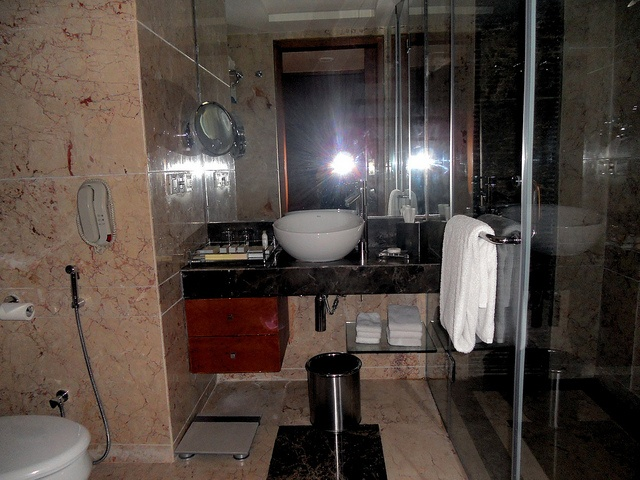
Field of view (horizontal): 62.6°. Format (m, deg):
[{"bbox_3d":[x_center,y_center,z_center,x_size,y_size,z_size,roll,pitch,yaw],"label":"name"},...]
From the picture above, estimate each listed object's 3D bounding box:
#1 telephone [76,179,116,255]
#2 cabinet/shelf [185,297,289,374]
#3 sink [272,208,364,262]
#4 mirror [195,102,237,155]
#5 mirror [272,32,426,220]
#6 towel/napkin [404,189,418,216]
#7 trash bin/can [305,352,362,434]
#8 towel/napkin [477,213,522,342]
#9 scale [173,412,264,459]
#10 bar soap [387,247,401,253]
[{"bbox_3d":[-1.098,-0.115,2.600,0.173,0.332,0.076,1,17,7],"label":"telephone"},{"bbox_3d":[-0.467,0.531,2.953,0.435,0.412,0.462,0,0,1],"label":"cabinet/shelf"},{"bbox_3d":[-0.008,-0.026,3.075,0.524,0.277,0.450,-4,8,-4],"label":"sink"},{"bbox_3d":[-0.620,-0.638,3.055,0.063,0.274,0.266,-4,4,30],"label":"mirror"},{"bbox_3d":[0.176,-0.742,3.189,1.053,1.527,0.063,-1,8,-1],"label":"mirror"},{"bbox_3d":[0.562,-0.253,3.221,0.073,0.129,0.130,1,10,13],"label":"towel/napkin"},{"bbox_3d":[0.065,0.825,3.081,0.362,0.382,0.362,-6,12,-24],"label":"trash bin/can"},{"bbox_3d":[0.757,0.173,2.141,0.118,0.395,0.293,-4,3,3],"label":"towel/napkin"},{"bbox_3d":[-0.565,1.107,2.952,0.387,0.115,0.365,-3,8,6],"label":"scale"},{"bbox_3d":[0.432,0.063,3.066,0.075,0.027,0.056,-4,8,-4],"label":"bar soap"}]
